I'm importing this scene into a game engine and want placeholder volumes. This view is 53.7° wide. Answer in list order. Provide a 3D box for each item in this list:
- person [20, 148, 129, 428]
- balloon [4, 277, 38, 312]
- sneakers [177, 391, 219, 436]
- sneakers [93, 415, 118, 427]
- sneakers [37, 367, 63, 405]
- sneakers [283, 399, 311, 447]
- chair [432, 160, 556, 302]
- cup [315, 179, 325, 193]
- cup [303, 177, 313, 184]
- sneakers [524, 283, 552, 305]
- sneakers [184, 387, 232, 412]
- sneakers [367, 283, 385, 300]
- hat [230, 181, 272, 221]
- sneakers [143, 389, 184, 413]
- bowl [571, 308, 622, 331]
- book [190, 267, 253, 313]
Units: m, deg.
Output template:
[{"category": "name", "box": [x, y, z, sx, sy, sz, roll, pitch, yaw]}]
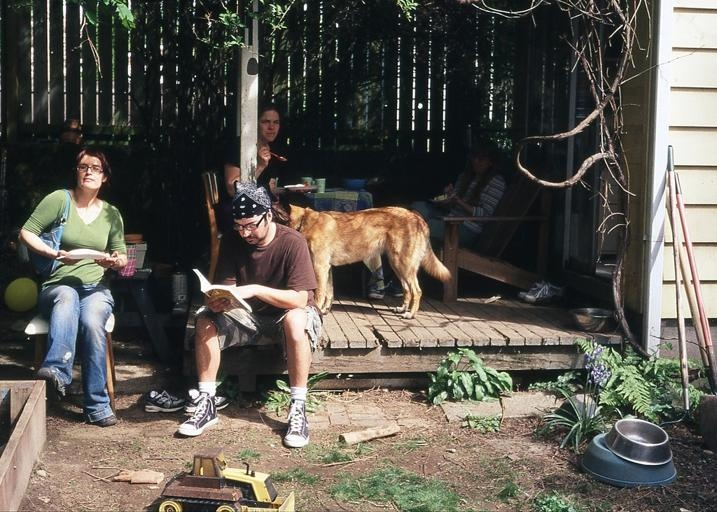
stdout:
[{"category": "person", "box": [-2.348, 0.255, 5.898, 0.795, 2.280, 0.738, -2, 7, -24]}, {"category": "balloon", "box": [-3.836, 0.461, 8.037, 0.260, 0.331, 0.274, -8, 19, 4]}, {"category": "sneakers", "box": [-1.292, 1.307, 5.812, 0.167, 0.298, 0.488, 4, 5, 18]}, {"category": "sneakers", "box": [-2.083, 1.380, 5.834, 0.194, 0.095, 0.080, 2, 4, -13]}, {"category": "sneakers", "box": [-2.486, 1.055, 5.683, 0.120, 0.390, 0.149, -9, 12, 3]}, {"category": "sneakers", "box": [-0.499, 1.341, 5.680, 0.208, 0.342, 0.289, 1, 6, -6]}, {"category": "chair", "box": [1.481, -0.367, 8.080, 1.324, 1.554, 1.275, 2, 25, 12]}, {"category": "cup", "box": [-0.426, -0.775, 7.871, 0.097, 0.154, 0.153, 0, -2, -3]}, {"category": "cup", "box": [-0.590, -0.855, 8.117, 0.079, 0.067, 0.087, 5, 12, 19]}, {"category": "sneakers", "box": [1.926, 0.414, 7.685, 0.252, 0.225, 0.300, -2, 7, -25]}, {"category": "sneakers", "box": [-1.342, 1.246, 6.112, 0.457, 0.225, 0.162, -4, 11, -36]}, {"category": "sneakers", "box": [0.183, 0.406, 7.882, 0.168, 0.173, 0.366, 1, 0, 0]}, {"category": "hat", "box": [-0.873, -0.441, 5.735, 0.243, 0.288, 0.339, 0, 7, 6]}, {"category": "sneakers", "box": [-1.692, 1.275, 6.173, 0.378, 0.190, 0.167, 3, 3, -14]}, {"category": "bowl", "box": [2.167, 0.606, 6.538, 0.236, 0.107, 0.250, -3, 8, 0]}, {"category": "book", "box": [-1.035, 0.360, 5.593, 0.285, 0.197, 0.536, 25, -7, 36]}]
